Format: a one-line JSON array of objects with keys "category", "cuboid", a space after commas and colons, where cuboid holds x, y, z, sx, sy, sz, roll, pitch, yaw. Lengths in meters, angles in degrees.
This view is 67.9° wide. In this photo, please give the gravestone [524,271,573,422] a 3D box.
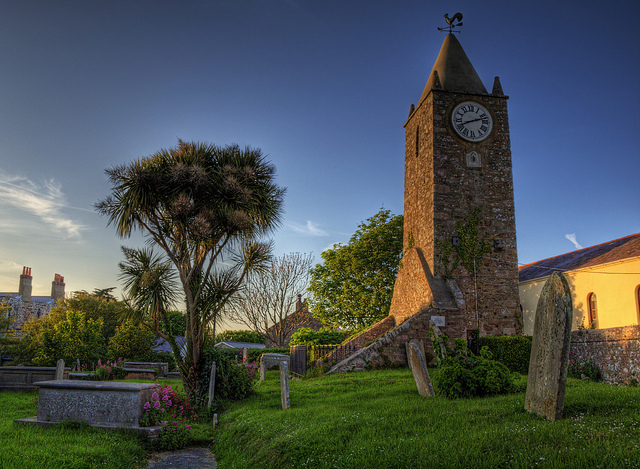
[{"category": "gravestone", "cuboid": [4.929, 2.368, 10.341, 0.671, 2.997, 1.081, 3, -13, -11]}]

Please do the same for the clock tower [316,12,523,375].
[{"category": "clock tower", "cuboid": [6.361, -2.606, 23.533, 6.043, 17.644, 5.031, -5, -13, 21]}]

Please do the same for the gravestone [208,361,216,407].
[{"category": "gravestone", "cuboid": [-3.715, 5.098, 16.377, 0.206, 1.455, 0.455, 3, -13, -11]}]

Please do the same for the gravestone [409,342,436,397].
[{"category": "gravestone", "cuboid": [2.821, 3.823, 13.298, 0.152, 1.493, 0.581, -10, -11, -24]}]

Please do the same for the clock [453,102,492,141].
[{"category": "clock", "cuboid": [7.699, -5.633, 24.255, 1.995, 2.022, 0.268, -2, -15, -19]}]
